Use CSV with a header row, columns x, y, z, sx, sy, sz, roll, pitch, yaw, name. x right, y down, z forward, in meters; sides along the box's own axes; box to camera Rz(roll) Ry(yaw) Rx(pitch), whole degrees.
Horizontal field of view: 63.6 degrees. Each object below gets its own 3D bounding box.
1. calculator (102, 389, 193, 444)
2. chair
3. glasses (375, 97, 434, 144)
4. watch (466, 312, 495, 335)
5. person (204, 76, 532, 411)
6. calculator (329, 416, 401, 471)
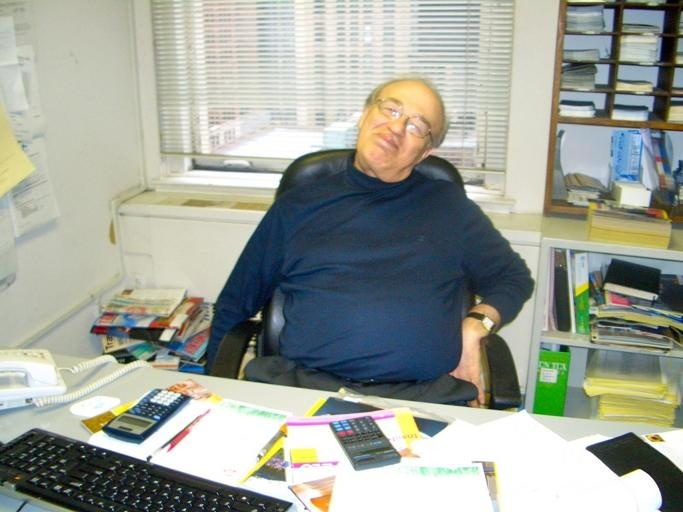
x,y,z,sx,sy,sz,roll,pitch,yaw,name
-0.452,0.370,1.321,0.122,0.032,0.182,8,22,25,calculator
0.113,0.078,1.801,0.821,0.958,0.629,2,19,6,chair
0.216,-0.470,1.893,0.178,0.159,0.049,26,67,2,glasses
0.433,0.206,1.751,0.071,0.025,0.070,12,19,-41,watch
0.104,0.029,1.921,0.867,1.191,0.817,2,16,4,person
0.046,0.414,1.244,0.117,0.030,0.141,-2,28,-22,calculator
